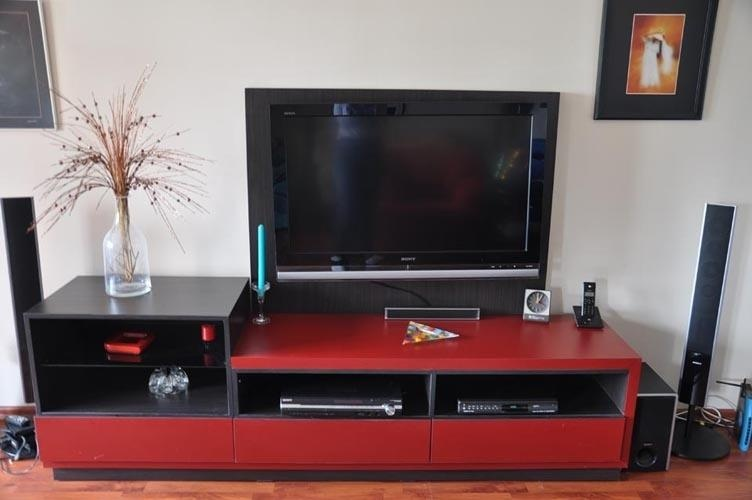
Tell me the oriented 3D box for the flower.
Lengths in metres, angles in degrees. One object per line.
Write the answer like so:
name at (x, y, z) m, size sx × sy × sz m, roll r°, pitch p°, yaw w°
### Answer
flower at (-1.155, -0.484, 3.817) m, size 1.156 × 1.246 × 1.118 m, roll 4°, pitch 24°, yaw -1°

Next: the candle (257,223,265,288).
candle at (-0.630, 0.032, 3.461) m, size 0.053 × 0.360 × 0.167 m, roll -2°, pitch 11°, yaw -10°

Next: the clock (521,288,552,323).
clock at (0.928, 0.315, 3.564) m, size 0.138 × 0.174 × 0.094 m, roll 3°, pitch 1°, yaw 17°

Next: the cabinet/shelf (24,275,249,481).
cabinet/shelf at (-1.240, 0.762, 3.487) m, size 0.996 × 0.830 × 0.684 m, roll -1°, pitch 4°, yaw -2°

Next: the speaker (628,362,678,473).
speaker at (1.447, 0.965, 3.510) m, size 0.250 × 0.431 × 0.440 m, roll 5°, pitch 7°, yaw -3°

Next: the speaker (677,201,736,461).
speaker at (1.843, 0.458, 3.395) m, size 0.287 × 1.400 × 0.307 m, roll 5°, pitch 13°, yaw 25°
